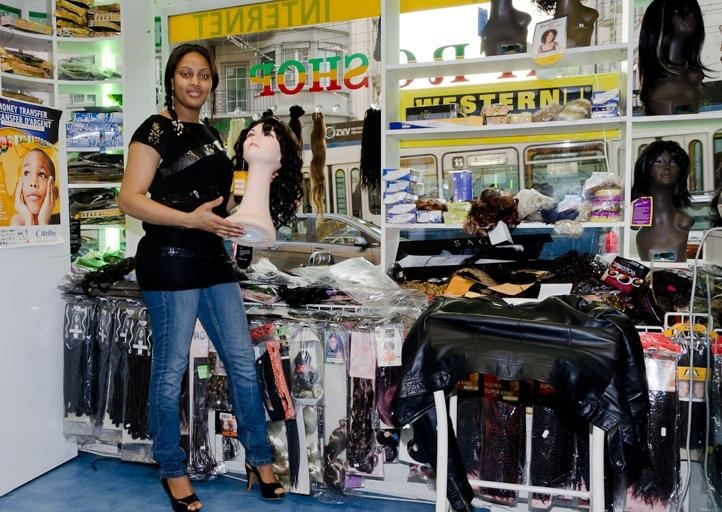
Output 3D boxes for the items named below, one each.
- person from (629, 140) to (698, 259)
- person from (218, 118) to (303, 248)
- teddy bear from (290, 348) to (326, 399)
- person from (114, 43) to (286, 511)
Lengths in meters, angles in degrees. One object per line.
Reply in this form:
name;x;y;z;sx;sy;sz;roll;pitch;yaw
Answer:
person;2.060;-0.376;4.438;0.375;0.799;0.196;-1;4;23
person;-0.550;-0.408;3.609;0.413;0.742;0.370;7;-22;-4
teddy bear;-0.307;0.654;3.633;0.159;0.282;0.048;-2;4;9
person;-0.877;0.123;3.438;0.713;2.477;0.375;-4;4;-20
